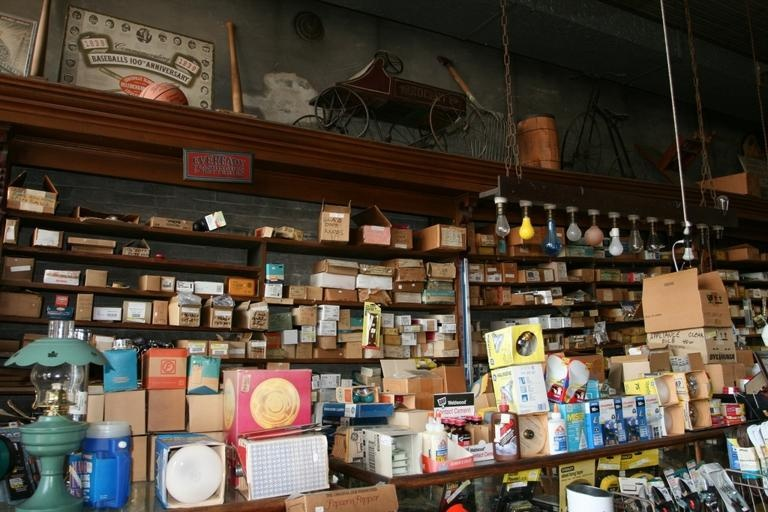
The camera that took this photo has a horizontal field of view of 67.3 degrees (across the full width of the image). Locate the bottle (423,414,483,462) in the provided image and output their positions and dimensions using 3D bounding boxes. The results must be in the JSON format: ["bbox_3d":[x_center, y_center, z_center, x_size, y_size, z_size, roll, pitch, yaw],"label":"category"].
[{"bbox_3d":[0.381,1.105,3.511,0.304,0.232,0.279,1,-11,0],"label":"bottle"}]

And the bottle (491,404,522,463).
[{"bbox_3d":[0.753,1.117,3.588,0.160,0.287,0.065,-3,-17,6],"label":"bottle"}]
